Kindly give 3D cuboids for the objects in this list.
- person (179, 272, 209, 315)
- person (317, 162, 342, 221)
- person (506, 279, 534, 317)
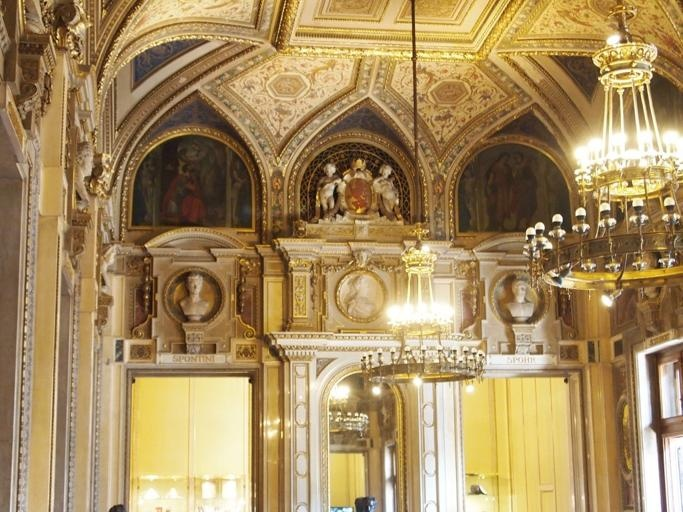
[{"bbox_3d":[-2.724,0.727,21.922,0.538,0.903,0.271,-1,-14,-6],"label":"person"},{"bbox_3d":[-0.240,-1.232,22.621,0.462,1.065,0.216,-2,-13,-3],"label":"person"},{"bbox_3d":[3.335,0.787,22.242,0.595,0.851,0.401,1,-19,-4],"label":"person"}]
